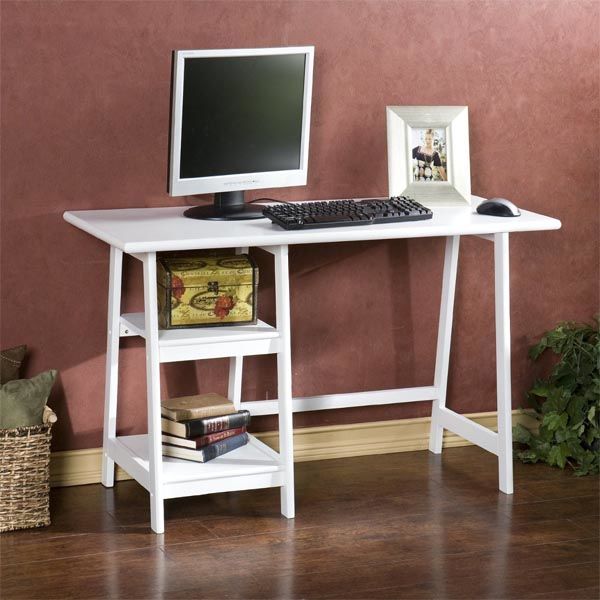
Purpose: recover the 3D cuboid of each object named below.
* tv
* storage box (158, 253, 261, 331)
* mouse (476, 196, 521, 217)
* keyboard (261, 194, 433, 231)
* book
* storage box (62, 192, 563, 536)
[{"bbox_3d":[-0.169,-0.469,1.878,0.529,0.538,0.213,-8,22,-30],"label":"tv"},{"bbox_3d":[-0.243,-0.057,1.803,0.271,0.164,0.194,-3,11,-20],"label":"storage box"},{"bbox_3d":[0.571,-0.263,1.945,0.099,0.032,0.060,4,10,44],"label":"mouse"},{"bbox_3d":[0.131,-0.234,1.825,0.475,0.103,0.226,-2,6,-28],"label":"keyboard"},{"bbox_3d":[-0.286,0.324,1.879,0.164,0.090,0.209,7,11,30],"label":"book"},{"bbox_3d":[0.056,0.176,2.003,1.237,0.685,0.497,-2,5,-20],"label":"storage box"}]
